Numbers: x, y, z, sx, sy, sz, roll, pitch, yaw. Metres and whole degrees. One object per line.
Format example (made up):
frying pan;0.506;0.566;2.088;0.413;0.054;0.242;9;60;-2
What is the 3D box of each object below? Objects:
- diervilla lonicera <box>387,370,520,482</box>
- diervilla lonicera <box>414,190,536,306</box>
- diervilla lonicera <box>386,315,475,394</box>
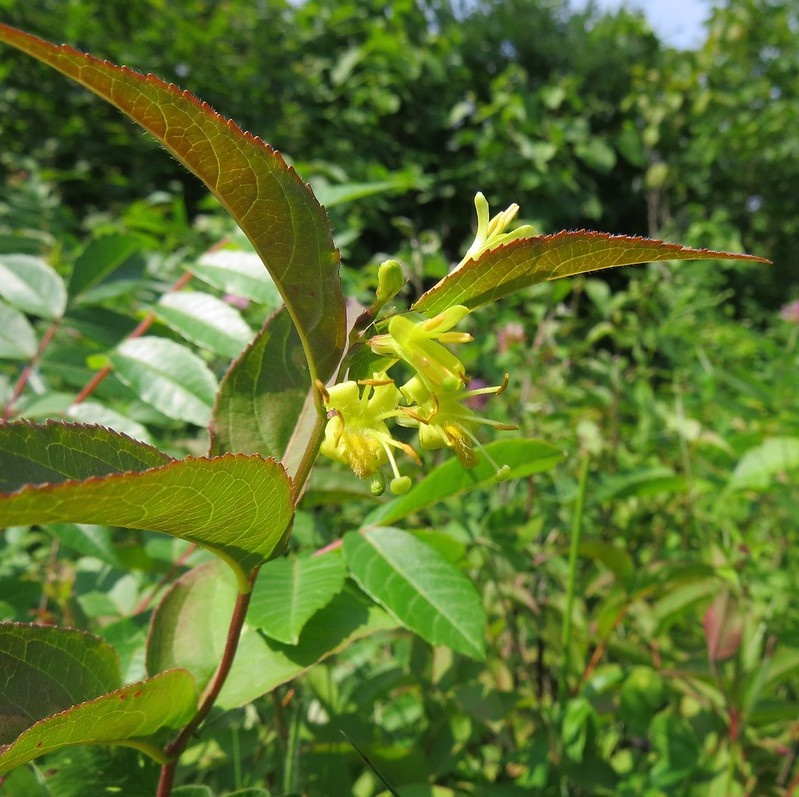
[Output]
diervilla lonicera;0.060;0.030;1.093;0.123;0.134;0.106;1;7;-4
diervilla lonicera;0.091;-0.177;1.125;0.093;0.217;0.039;-13;69;-43
diervilla lonicera;0.041;-0.051;0.995;0.086;0.092;0.061;0;8;-8
